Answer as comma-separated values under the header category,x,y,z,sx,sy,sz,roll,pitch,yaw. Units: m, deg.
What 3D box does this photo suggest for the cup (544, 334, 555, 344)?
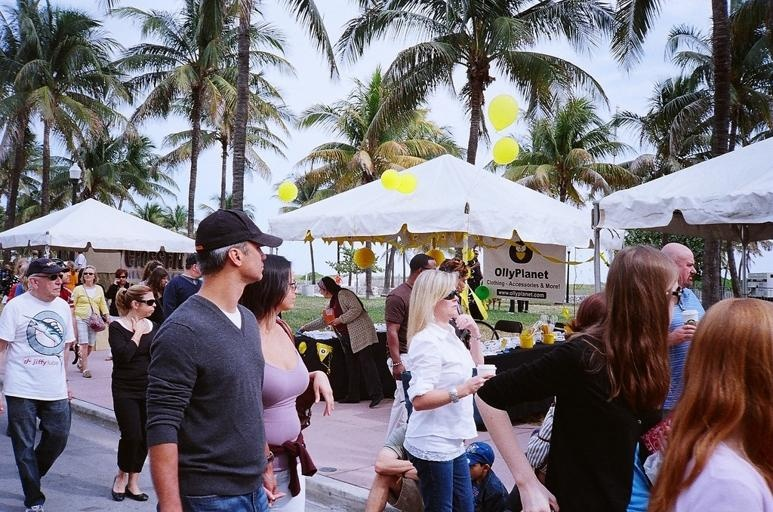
category,x,y,z,sx,sy,sz,roll,pitch,yaw
cup,2.547,1.299,10.158,0.142,0.115,0.139,1,-6,0

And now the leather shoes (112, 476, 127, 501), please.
category,x,y,z,sx,sy,sz,roll,pitch,yaw
leather shoes,-2.959,2.579,7.198,0.098,0.144,0.325,24,3,-31

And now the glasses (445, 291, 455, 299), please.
category,x,y,z,sx,sy,sz,roll,pitch,yaw
glasses,0.567,0.351,5.725,0.067,0.025,0.069,-8,-15,-47

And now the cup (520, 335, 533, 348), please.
category,x,y,z,sx,sy,sz,roll,pitch,yaw
cup,2.065,1.265,9.563,0.165,0.180,0.177,1,-8,0

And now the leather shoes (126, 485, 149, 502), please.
category,x,y,z,sx,sy,sz,roll,pitch,yaw
leather shoes,-2.773,2.667,7.284,0.292,0.119,0.115,2,-8,16

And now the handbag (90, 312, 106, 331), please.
category,x,y,z,sx,sy,sz,roll,pitch,yaw
handbag,-5.631,1.286,12.674,0.176,0.400,0.361,-2,-11,15

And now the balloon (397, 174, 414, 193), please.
category,x,y,z,sx,sy,sz,roll,pitch,yaw
balloon,0.305,-1.109,10.003,0.238,0.271,0.293,4,-15,-4

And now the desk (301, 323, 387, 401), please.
category,x,y,z,sx,sy,sz,roll,pitch,yaw
desk,-0.423,1.753,10.746,1.261,1.069,1.320,2,2,-18

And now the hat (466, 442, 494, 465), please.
category,x,y,z,sx,sy,sz,roll,pitch,yaw
hat,0.840,1.752,5.774,0.234,0.136,0.172,13,-1,-12

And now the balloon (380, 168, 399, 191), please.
category,x,y,z,sx,sy,sz,roll,pitch,yaw
balloon,0.062,-1.186,10.075,0.267,0.316,0.273,-38,14,10

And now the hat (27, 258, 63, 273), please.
category,x,y,z,sx,sy,sz,roll,pitch,yaw
hat,-3.595,0.113,6.851,0.242,0.139,0.178,-1,4,-17
